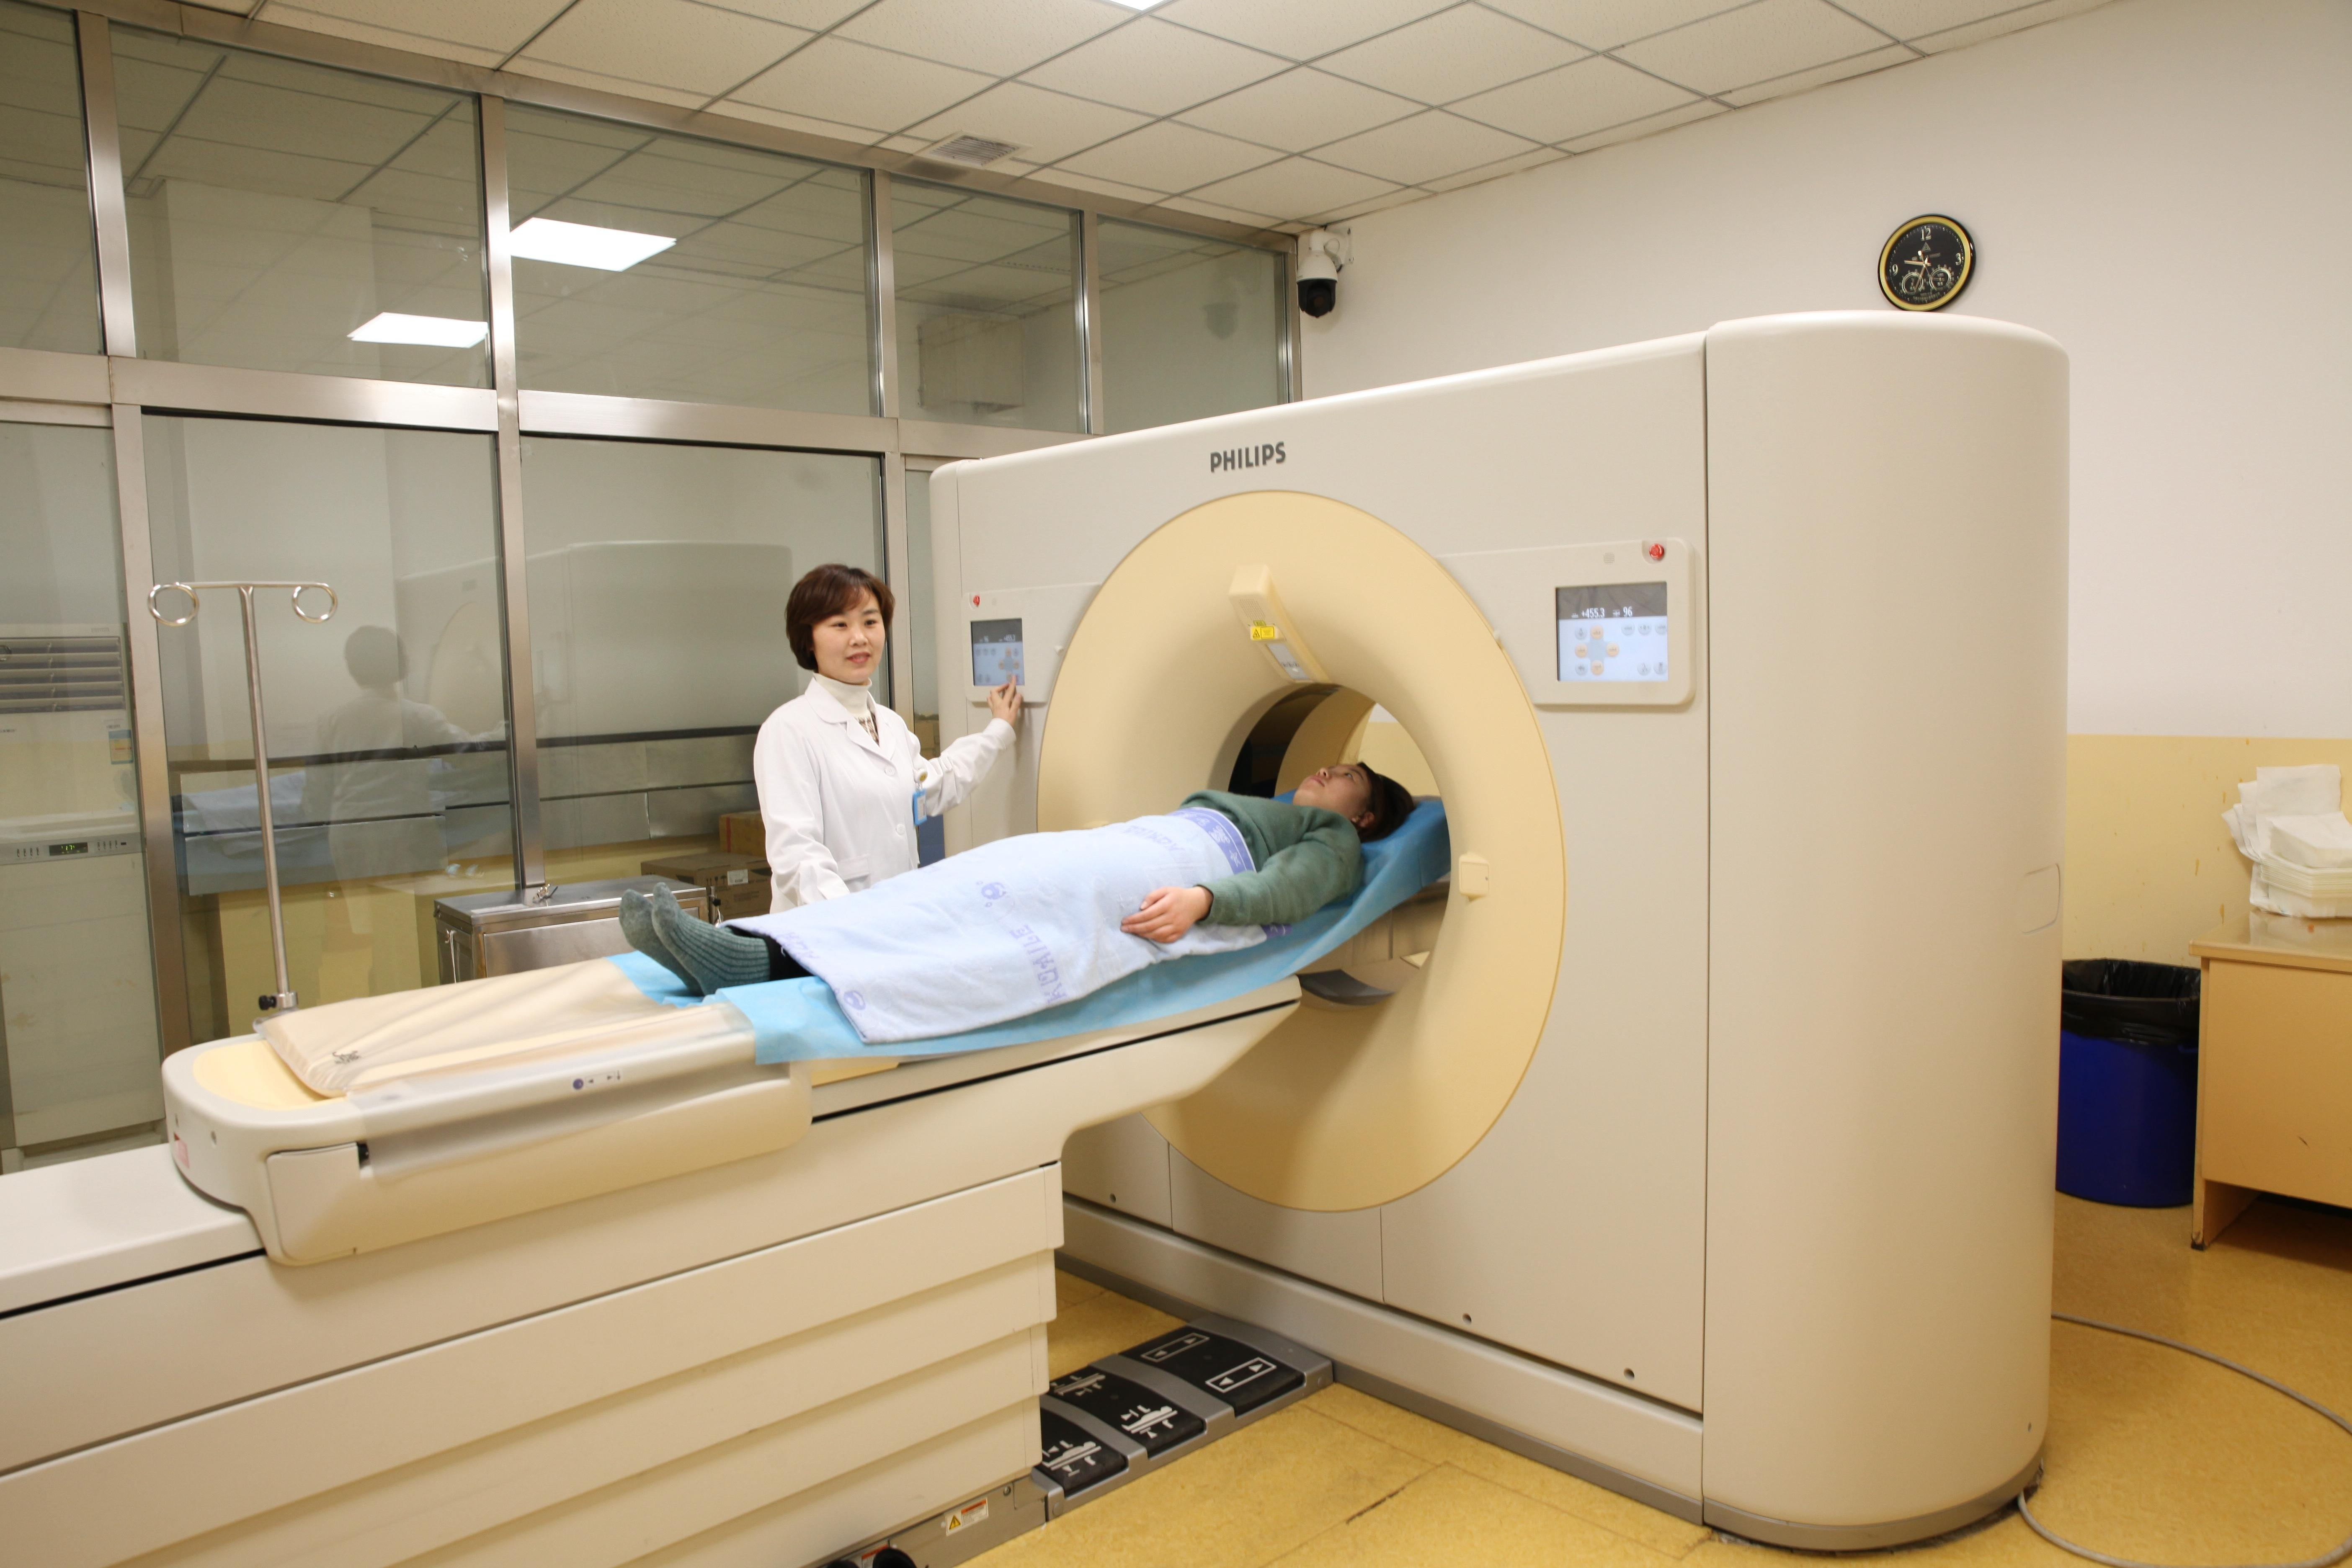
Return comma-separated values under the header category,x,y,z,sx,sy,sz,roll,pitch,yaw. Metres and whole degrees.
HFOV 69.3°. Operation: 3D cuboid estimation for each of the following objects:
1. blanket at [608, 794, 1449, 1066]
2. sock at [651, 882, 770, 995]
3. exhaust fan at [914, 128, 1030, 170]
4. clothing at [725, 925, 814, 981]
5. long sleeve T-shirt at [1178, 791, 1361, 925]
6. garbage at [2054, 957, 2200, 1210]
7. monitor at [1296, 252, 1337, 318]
category,x,y,z,sx,sy,sz,roll,pitch,yaw
blanket,-0.263,0.266,3.296,1.604,0.377,0.516,-17,12,-24
sock,-0.842,0.306,3.080,0.135,0.227,0.092,-36,2,-22
exhaust fan,-0.655,-2.012,5.429,0.246,0.037,0.266,-10,10,-39
clothing,-0.733,0.310,3.068,0.141,0.080,0.101,-5,9,-28
long sleeve T-shirt,0.219,0.151,3.472,0.289,0.115,0.287,-5,29,-7
garbage,2.298,0.789,4.384,0.451,0.439,0.328,15,-26,-10
monitor,0.523,-1.846,6.368,0.217,0.249,0.211,-1,4,-4
